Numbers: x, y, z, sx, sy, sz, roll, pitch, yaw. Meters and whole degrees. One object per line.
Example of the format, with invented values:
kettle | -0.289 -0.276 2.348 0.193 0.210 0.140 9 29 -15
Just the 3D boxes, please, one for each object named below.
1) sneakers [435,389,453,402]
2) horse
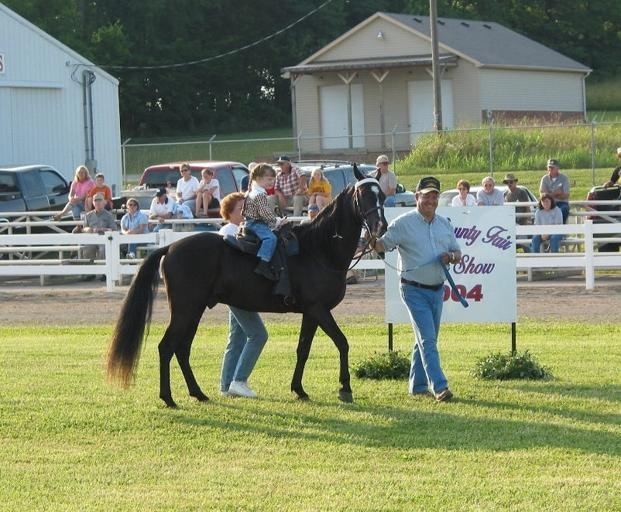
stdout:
sneakers | 2.989 3.144 38.744 0.189 0.181 0.385 7 -19 -42
horse | -1.317 0.892 39.332 6.522 5.221 1.377 -2 2 8
